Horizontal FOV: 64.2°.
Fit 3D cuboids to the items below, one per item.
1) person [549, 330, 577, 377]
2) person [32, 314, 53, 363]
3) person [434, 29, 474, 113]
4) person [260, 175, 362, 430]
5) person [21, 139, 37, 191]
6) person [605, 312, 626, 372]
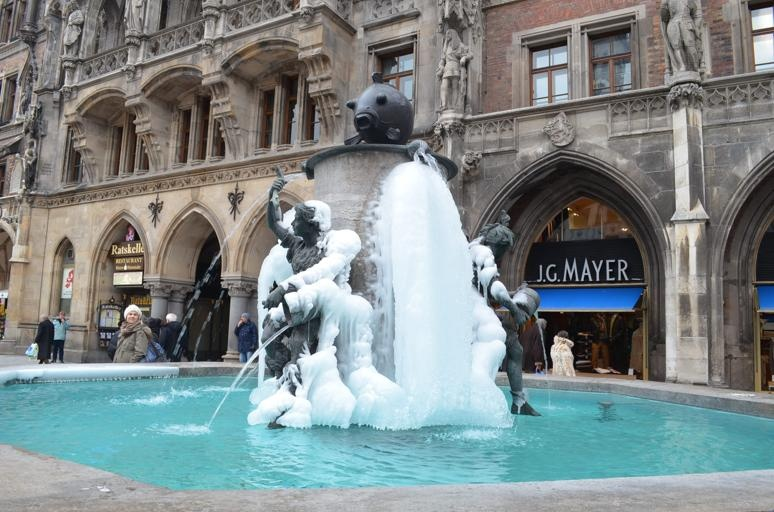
[{"bbox_3d":[3.866,2.162,13.632,0.472,0.968,1.386,-3,-6,15],"label":"person"},{"bbox_3d":[-8.948,2.182,16.196,0.417,1.249,0.715,2,-7,-30],"label":"person"},{"bbox_3d":[1.761,-4.751,15.820,0.843,2.250,0.360,0,-6,-13],"label":"person"},{"bbox_3d":[-0.954,0.401,7.077,1.122,3.007,0.903,-5,-7,30],"label":"person"},{"bbox_3d":[-13.903,-3.555,24.073,0.926,2.007,0.332,-5,-7,30],"label":"person"},{"bbox_3d":[6.211,2.339,16.600,0.581,1.552,0.347,-4,-7,24],"label":"person"}]
